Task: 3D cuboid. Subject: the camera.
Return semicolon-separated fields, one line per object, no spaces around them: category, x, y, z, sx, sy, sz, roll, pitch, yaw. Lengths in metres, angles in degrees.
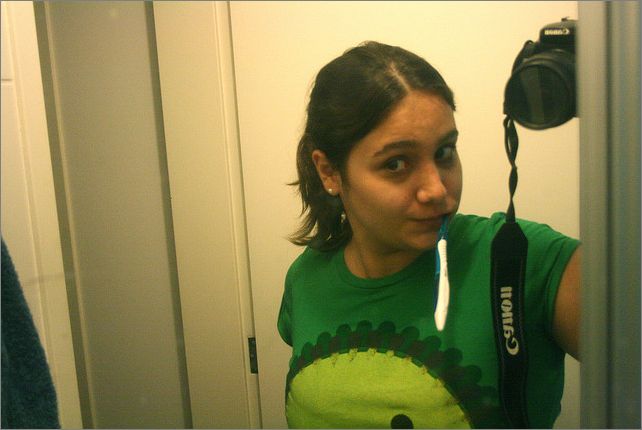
camera;0.564;-0.345;1.637;0.237;0.235;0.247;1;18;42
